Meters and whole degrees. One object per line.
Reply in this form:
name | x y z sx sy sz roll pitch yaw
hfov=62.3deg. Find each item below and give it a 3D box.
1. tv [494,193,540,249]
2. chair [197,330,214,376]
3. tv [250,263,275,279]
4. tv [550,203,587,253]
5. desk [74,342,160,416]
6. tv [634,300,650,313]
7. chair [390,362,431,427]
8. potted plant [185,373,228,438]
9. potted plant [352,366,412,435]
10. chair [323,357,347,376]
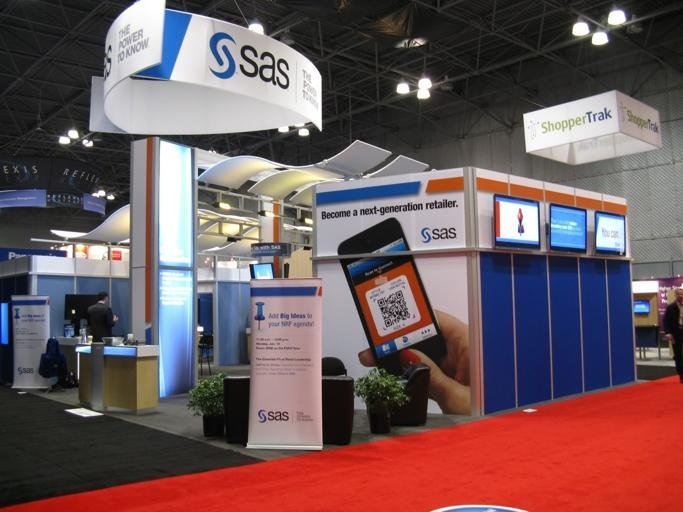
tv | 2.470 -0.477 8.068 0.699 0.590 0.072 5 -8 -39
chair | -3.189 2.172 13.030 0.347 0.691 0.355 7 -9 -16
tv | -1.867 0.345 13.327 0.669 0.322 0.381 -3 -3 39
tv | 3.504 -0.419 8.808 0.696 0.568 0.072 3 -6 -43
desk | -3.556 1.858 8.805 1.497 1.020 0.552 -3 -4 33
tv | 8.520 1.453 16.045 0.379 0.397 0.203 -8 -17 39
chair | 0.918 1.768 7.109 0.625 0.770 0.522 -1 -8 6
potted plant | -1.521 1.839 6.741 0.414 0.557 0.370 -7 -25 11
potted plant | 0.478 1.741 6.939 0.639 0.771 0.675 0 -6 -5
chair | -0.088 1.423 7.211 0.249 0.218 0.192 -4 -2 -21
